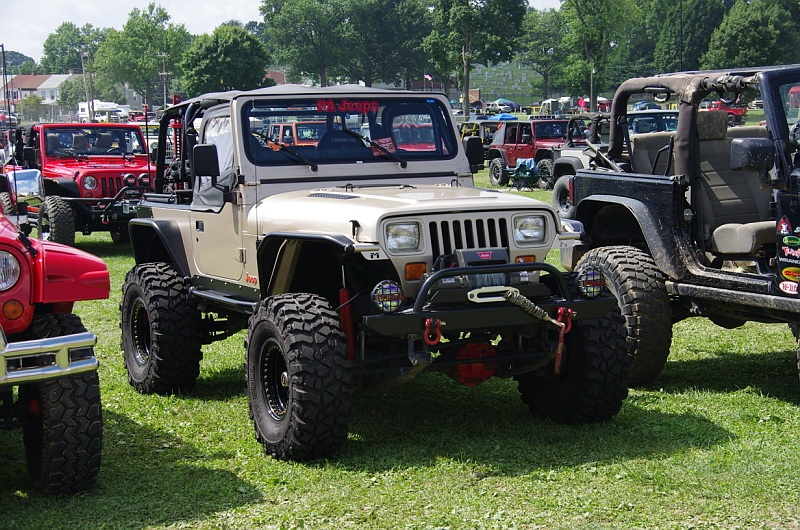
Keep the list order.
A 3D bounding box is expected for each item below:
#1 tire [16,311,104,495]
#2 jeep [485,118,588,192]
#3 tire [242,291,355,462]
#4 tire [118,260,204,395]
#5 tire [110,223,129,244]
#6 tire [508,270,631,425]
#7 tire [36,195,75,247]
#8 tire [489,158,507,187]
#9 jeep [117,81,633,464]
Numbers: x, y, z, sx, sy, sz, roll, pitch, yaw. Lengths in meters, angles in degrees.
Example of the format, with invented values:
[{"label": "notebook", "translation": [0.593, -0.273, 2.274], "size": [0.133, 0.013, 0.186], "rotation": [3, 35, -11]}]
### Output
[{"label": "tire", "translation": [-2.254, 0.943, 4.567], "size": [0.447, 1.132, 0.685], "rotation": [-10, 13, -43]}, {"label": "jeep", "translation": [4.885, -4.325, 26.170], "size": [2.275, 2.275, 3.844], "rotation": [-4, 6, -29]}, {"label": "tire", "translation": [-0.830, 0.871, 5.365], "size": [0.435, 1.333, 1.300], "rotation": [-2, -5, -31]}, {"label": "tire", "translation": [-2.392, 0.627, 6.805], "size": [0.409, 1.279, 1.257], "rotation": [-3, 10, -36]}, {"label": "tire", "translation": [-5.863, -0.687, 14.455], "size": [0.172, 0.413, 0.401], "rotation": [0, 1, -38]}, {"label": "tire", "translation": [1.601, 0.821, 5.869], "size": [0.349, 1.070, 1.051], "rotation": [3, -12, -6]}, {"label": "tire", "translation": [-6.772, -0.826, 13.710], "size": [0.436, 1.160, 1.133], "rotation": [-5, 0, -33]}, {"label": "tire", "translation": [3.725, -3.555, 26.318], "size": [0.417, 1.204, 1.173], "rotation": [-1, 4, -28]}, {"label": "jeep", "translation": [-0.712, -0.283, 6.560], "size": [2.577, 2.610, 4.595], "rotation": [-2, 5, -31]}]
